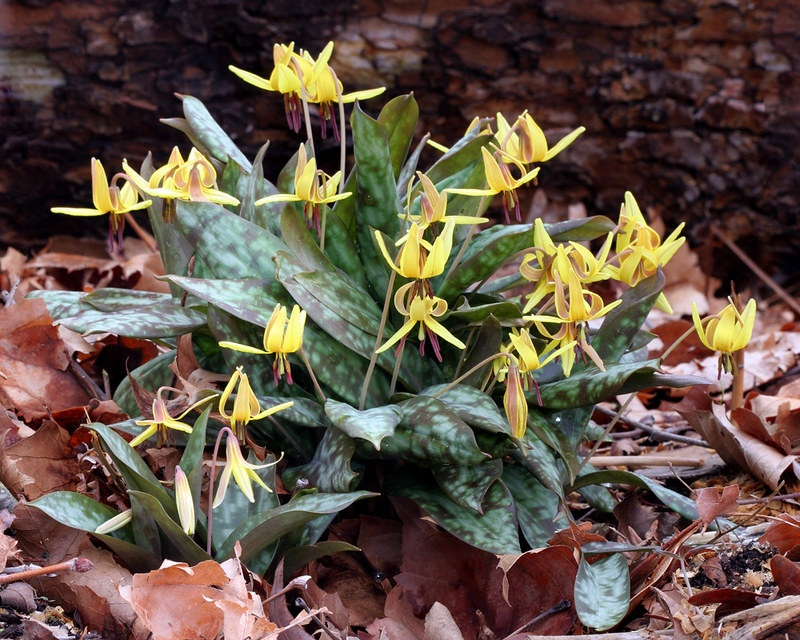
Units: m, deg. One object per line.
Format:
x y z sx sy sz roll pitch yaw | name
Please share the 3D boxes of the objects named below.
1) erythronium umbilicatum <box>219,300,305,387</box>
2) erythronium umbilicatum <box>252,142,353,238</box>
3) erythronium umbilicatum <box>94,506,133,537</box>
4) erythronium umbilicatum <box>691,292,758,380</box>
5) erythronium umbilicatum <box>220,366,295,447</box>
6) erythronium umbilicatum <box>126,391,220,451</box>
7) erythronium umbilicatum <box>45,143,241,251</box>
-0.282 0.060 1.981 0.181 0.170 0.200 2 19 26 | erythronium umbilicatum
-0.222 -0.287 2.151 0.204 0.182 0.233 5 73 -41 | erythronium umbilicatum
-0.643 0.442 1.979 0.058 0.059 0.014 -31 88 -20 | erythronium umbilicatum
0.800 0.040 2.174 0.145 0.149 0.200 -12 96 -43 | erythronium umbilicatum
-0.343 0.195 1.921 0.157 0.143 0.152 7 90 6 | erythronium umbilicatum
-0.517 0.213 1.967 0.184 0.179 0.117 -28 112 -57 | erythronium umbilicatum
-0.625 -0.224 2.203 0.361 0.352 0.230 6 91 10 | erythronium umbilicatum
